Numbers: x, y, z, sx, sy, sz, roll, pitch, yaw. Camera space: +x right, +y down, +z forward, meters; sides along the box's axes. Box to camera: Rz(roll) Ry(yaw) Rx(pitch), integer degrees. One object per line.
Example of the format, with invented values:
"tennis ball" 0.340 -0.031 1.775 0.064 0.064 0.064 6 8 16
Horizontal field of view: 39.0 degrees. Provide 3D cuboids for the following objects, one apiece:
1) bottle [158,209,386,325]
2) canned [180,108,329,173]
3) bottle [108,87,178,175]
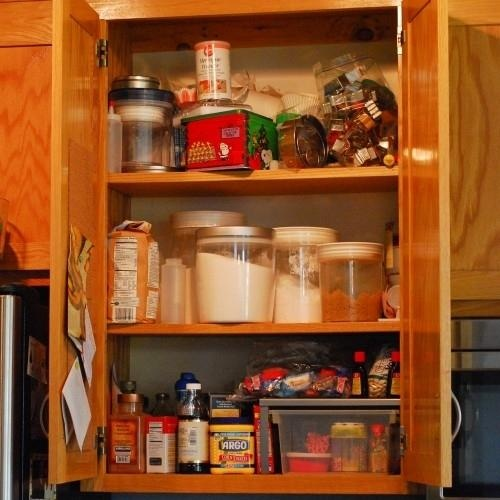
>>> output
"bottle" 0.054 0.044 1.771 0.534 0.259 0.272 -1 -4 3
"canned" 0.020 -0.262 1.834 0.311 0.117 0.181 -1 -2 24
"bottle" -0.259 -0.314 1.935 0.231 0.194 0.216 -1 -5 -3
